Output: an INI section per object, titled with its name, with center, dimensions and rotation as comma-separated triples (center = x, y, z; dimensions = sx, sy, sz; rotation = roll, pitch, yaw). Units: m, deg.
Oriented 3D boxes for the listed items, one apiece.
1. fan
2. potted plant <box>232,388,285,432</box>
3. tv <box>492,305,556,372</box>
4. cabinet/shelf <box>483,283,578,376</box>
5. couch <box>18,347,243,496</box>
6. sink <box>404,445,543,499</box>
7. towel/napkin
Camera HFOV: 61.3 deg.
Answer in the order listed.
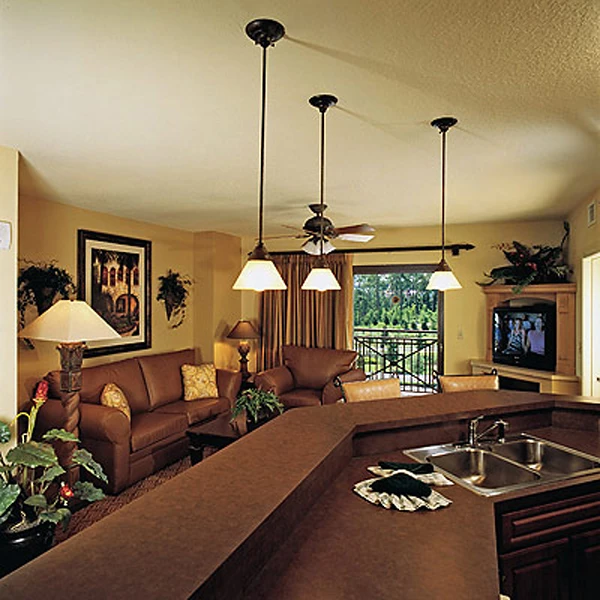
[fan]
center = 0.149, -0.590, 3.789
dimensions = 0.813, 0.233, 0.767
rotation = -17, 23, -33
[potted plant]
center = -0.363, 0.867, 4.213
dimensions = 0.417, 0.305, 0.439
rotation = -1, 0, 23
[tv]
center = 2.274, 0.379, 5.065
dimensions = 0.361, 0.584, 0.637
rotation = 6, -8, -33
[cabinet/shelf]
center = 2.361, 0.253, 5.140
dimensions = 0.272, 0.833, 0.988
rotation = -4, 4, -34
[couch]
center = -1.400, 0.987, 4.659
dimensions = 0.826, 0.871, 1.939
rotation = 5, 2, 22
[sink]
center = 0.851, 0.770, 2.325
dimensions = 0.273, 0.119, 0.301
rotation = -2, 2, -27
[towel/napkin]
center = 0.420, 0.727, 2.013
dimensions = 0.363, 0.071, 0.381
rotation = 12, 9, 19
